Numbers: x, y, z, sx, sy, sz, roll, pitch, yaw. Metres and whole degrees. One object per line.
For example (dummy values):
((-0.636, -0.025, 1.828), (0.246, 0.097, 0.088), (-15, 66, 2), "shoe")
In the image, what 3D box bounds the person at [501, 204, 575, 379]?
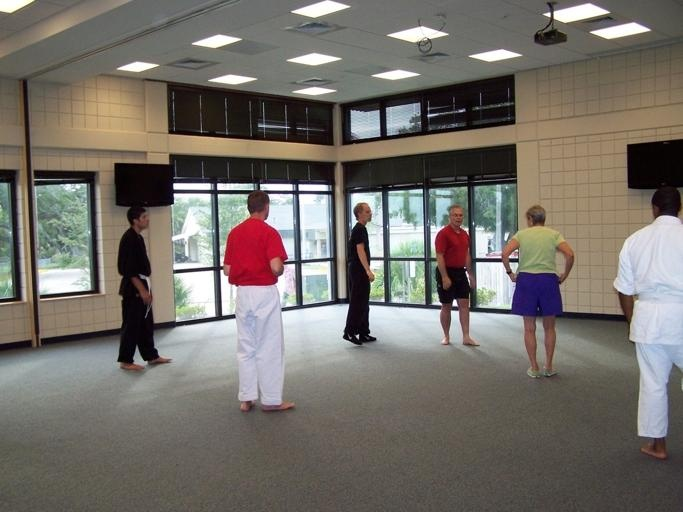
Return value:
((2.306, 0.418, 6.005), (0.753, 1.997, 0.740), (2, 7, 25), "person")

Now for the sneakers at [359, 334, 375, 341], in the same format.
((0.409, 1.294, 8.076), (0.285, 0.128, 0.100), (-1, -1, -12), "sneakers")

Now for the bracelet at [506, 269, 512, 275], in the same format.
((1.970, 0.186, 5.950), (0.051, 0.036, 0.066), (-2, -3, 1), "bracelet")

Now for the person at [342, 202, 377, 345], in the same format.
((0.260, 0.299, 7.694), (0.508, 2.178, 0.799), (0, 6, 3), "person")

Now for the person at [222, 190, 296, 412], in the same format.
((-0.843, 0.471, 5.112), (0.663, 2.222, 0.317), (2, 7, 22), "person")

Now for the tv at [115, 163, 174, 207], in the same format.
((-3.526, -1.248, 8.937), (0.944, 0.708, 0.132), (-2, 0, -38), "tv")

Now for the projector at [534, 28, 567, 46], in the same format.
((2.622, -2.781, 6.427), (0.360, 0.213, 0.311), (-1, 7, -1), "projector")

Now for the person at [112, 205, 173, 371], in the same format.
((-2.715, 0.438, 6.761), (0.563, 2.169, 0.481), (-4, 7, -32), "person")

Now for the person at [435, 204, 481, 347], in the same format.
((1.729, 0.297, 7.533), (0.597, 2.064, 0.756), (2, 7, 21), "person")
